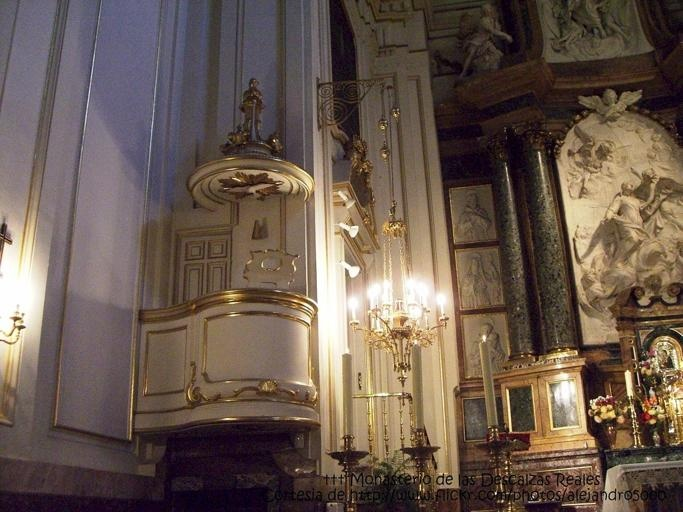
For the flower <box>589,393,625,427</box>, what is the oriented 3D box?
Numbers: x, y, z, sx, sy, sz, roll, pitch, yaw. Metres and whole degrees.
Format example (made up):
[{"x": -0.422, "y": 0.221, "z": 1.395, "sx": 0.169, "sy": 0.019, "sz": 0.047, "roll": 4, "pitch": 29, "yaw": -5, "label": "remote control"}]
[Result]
[{"x": 3.787, "y": 2.255, "z": 8.551, "sx": 0.466, "sy": 0.487, "sz": 0.447, "roll": -4, "pitch": -17, "yaw": 11, "label": "flower"}]

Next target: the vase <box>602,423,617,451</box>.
[{"x": 3.959, "y": 2.637, "z": 8.603, "sx": 0.194, "sy": 0.348, "sz": 0.687, "roll": -11, "pitch": -21, "yaw": 21, "label": "vase"}]

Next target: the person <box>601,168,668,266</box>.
[{"x": 5.000, "y": -0.702, "z": 10.021, "sx": 1.013, "sy": 1.644, "sz": 0.277, "roll": -5, "pitch": -19, "yaw": 4, "label": "person"}]

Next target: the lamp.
[{"x": 0.753, "y": -0.355, "z": 8.316, "sx": 1.390, "sy": 3.707, "sz": 1.358, "roll": -6, "pitch": -3, "yaw": 38, "label": "lamp"}]

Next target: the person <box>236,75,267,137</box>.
[{"x": -0.904, "y": -1.513, "z": 6.009, "sx": 0.246, "sy": 0.732, "sz": 0.218, "roll": -6, "pitch": -21, "yaw": 9, "label": "person"}]

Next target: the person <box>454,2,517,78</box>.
[{"x": 2.786, "y": -4.284, "z": 11.452, "sx": 1.018, "sy": 1.754, "sz": 0.617, "roll": -9, "pitch": -20, "yaw": 15, "label": "person"}]
